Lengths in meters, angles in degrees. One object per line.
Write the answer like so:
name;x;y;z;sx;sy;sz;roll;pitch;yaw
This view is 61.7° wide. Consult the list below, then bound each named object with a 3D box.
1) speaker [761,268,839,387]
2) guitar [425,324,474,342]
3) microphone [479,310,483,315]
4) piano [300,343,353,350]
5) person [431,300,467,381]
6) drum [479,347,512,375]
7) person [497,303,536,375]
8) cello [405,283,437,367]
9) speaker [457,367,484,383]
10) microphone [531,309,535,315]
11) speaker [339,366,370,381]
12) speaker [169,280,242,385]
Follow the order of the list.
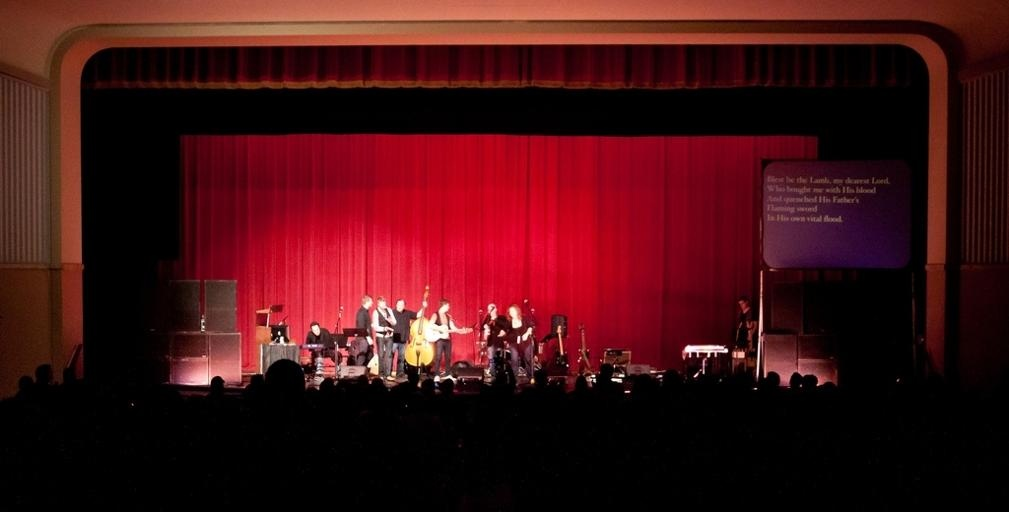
speaker;5.810;1.552;17.314;1.450;3.009;1.151;-1;1;-2
guitar;-1.331;1.662;18.173;0.756;0.359;0.198;2;-8;-8
microphone;-0.554;1.309;19.513;0.112;0.103;0.034;-5;-13;41
piano;-3.699;1.878;17.508;1.018;0.117;0.343;2;-7;-9
person;-1.208;1.833;18.393;0.643;1.723;0.665;0;0;1
drum;-0.177;2.091;16.822;0.739;0.533;0.973;0;-17;-1
person;0.105;1.831;17.786;1.000;1.506;0.685;-10;11;-42
cello;-1.774;1.519;18.296;0.694;1.662;0.310;3;-6;24
speaker;-0.698;2.388;17.022;0.583;0.338;0.585;-1;-4;12
microphone;0.689;1.266;19.337;0.037;0.132;0.141;-14;11;34
speaker;-2.916;2.247;16.163;0.581;0.296;0.401;2;9;6
speaker;-6.042;1.619;17.594;1.572;2.679;1.243;0;-1;8
